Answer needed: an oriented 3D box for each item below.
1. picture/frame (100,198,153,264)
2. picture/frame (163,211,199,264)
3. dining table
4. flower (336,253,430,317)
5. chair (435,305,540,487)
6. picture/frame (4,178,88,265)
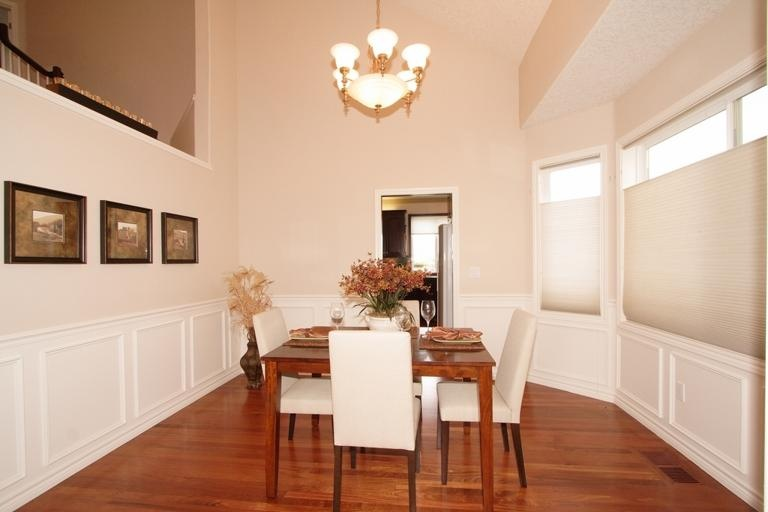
[{"bbox_3d":[-2.636,-0.258,5.152,0.090,0.807,0.693,-1,-2,30],"label":"picture/frame"},{"bbox_3d":[-2.322,-0.198,5.771,0.062,0.563,0.570,-4,-4,17],"label":"picture/frame"},{"bbox_3d":[0.101,1.338,5.063,1.673,1.105,1.688,-2,-8,9],"label":"dining table"},{"bbox_3d":[-0.063,0.272,4.977,0.765,0.539,0.754,0,6,-9],"label":"flower"},{"bbox_3d":[0.916,1.302,4.822,0.904,1.476,0.872,1,4,-3],"label":"chair"},{"bbox_3d":[-3.062,-0.314,4.549,0.101,0.936,0.809,-3,-3,36],"label":"picture/frame"}]
